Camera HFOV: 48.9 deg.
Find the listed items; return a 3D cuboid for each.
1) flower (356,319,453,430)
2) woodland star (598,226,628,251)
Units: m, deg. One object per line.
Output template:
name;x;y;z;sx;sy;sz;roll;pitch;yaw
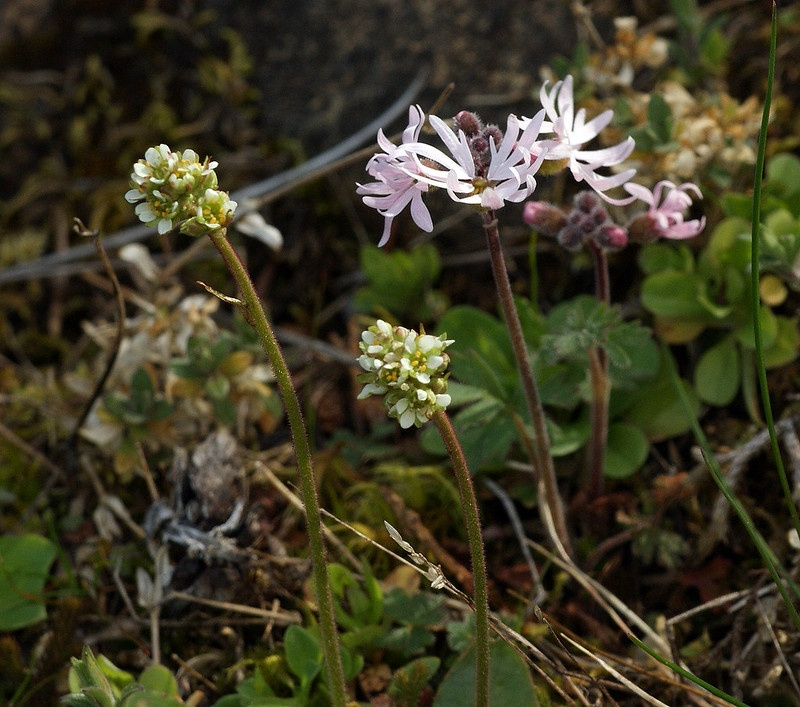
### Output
flower;0.008;0.059;2.150;0.214;0.160;0.222;-3;54;10
woodland star;0.625;-0.339;2.576;0.056;0.048;0.077;-21;11;-4
